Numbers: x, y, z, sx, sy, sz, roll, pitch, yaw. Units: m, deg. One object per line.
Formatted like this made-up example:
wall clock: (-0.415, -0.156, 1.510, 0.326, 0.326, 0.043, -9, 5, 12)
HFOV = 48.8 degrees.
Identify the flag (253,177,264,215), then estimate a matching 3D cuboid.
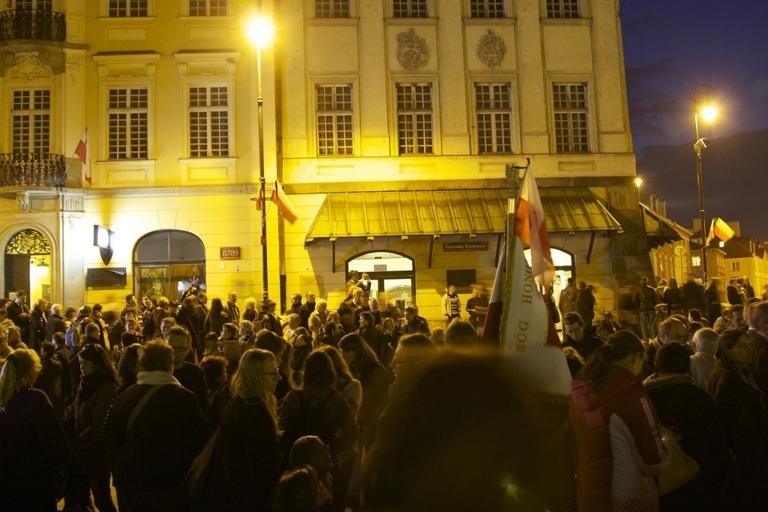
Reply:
flag: (-4.033, -1.861, 27.062, 0.436, 1.262, 1.924, 0, -6, -9)

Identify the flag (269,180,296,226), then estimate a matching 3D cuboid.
flag: (-3.211, -1.680, 26.786, 0.763, 1.248, 0.557, 3, -7, -33)

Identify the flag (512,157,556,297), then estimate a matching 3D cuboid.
flag: (2.285, -0.340, 13.937, 0.750, 2.494, 0.382, -4, -18, 19)

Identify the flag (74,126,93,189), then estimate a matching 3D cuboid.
flag: (-9.786, -3.308, 27.542, 0.490, 1.821, 1.210, 2, -6, -20)
